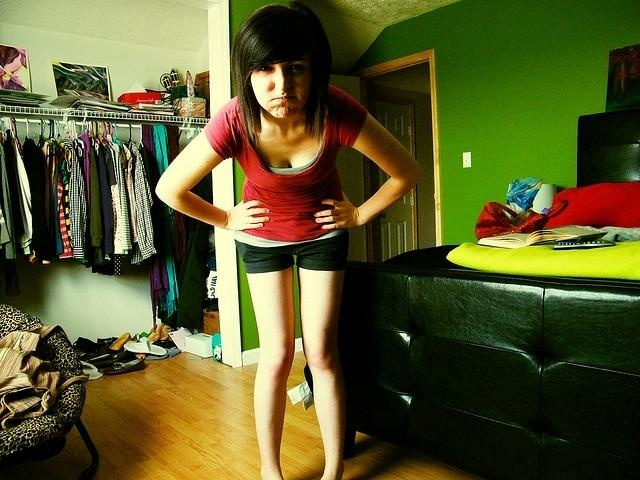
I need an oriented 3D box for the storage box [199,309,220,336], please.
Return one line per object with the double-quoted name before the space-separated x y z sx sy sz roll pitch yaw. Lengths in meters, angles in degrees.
"storage box" -0.837 0.636 3.720 0.158 0.228 0.237 -2 -6 -4
